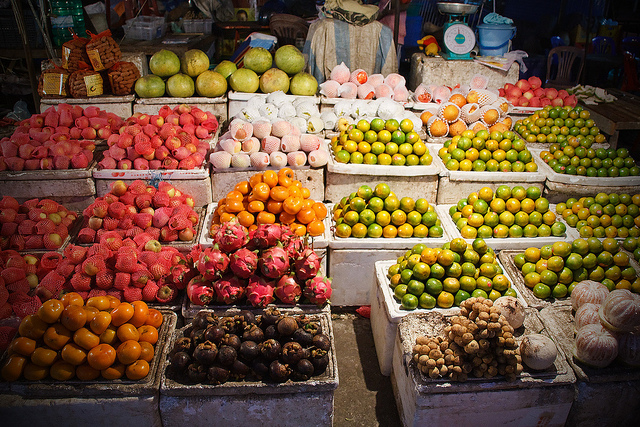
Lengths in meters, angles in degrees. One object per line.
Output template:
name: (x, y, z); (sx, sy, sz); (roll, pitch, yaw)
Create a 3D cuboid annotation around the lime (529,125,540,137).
lime: (2.448, -0.956, 5.036); (0.113, 0.139, 0.116); (-6, 15, 12)

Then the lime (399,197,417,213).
lime: (0.800, -0.084, 4.046); (0.130, 0.141, 0.131); (-2, -8, -3)

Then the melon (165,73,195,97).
melon: (-1.691, -1.529, 5.252); (0.292, 0.297, 0.279); (1, -19, -15)

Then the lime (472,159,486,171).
lime: (1.602, -0.489, 4.401); (0.132, 0.103, 0.072); (3, 24, 5)

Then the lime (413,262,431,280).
lime: (0.816, 0.463, 3.586); (0.124, 0.129, 0.150); (-4, 49, 6)

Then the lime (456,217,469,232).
lime: (1.331, 0.094, 4.161); (0.105, 0.131, 0.106); (-2, 50, 3)

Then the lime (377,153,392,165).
lime: (0.636, -0.544, 4.344); (0.112, 0.111, 0.112); (1, -24, 0)

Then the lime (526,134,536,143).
lime: (2.379, -0.847, 4.923); (0.086, 0.102, 0.087); (10, 0, 8)

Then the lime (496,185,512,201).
lime: (1.732, -0.196, 4.116); (0.144, 0.127, 0.081); (7, 25, 14)

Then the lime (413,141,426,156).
lime: (0.984, -0.654, 4.435); (0.125, 0.146, 0.125); (2, -18, -7)

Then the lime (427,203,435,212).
lime: (1.047, -0.055, 4.127); (0.065, 0.080, 0.066); (9, 23, 21)

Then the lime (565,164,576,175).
lime: (2.532, -0.445, 4.423); (0.085, 0.085, 0.081); (-5, 7, 17)

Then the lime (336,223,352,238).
lime: (0.201, 0.151, 4.099); (0.120, 0.129, 0.145); (24, 28, -18)

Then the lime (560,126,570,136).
lime: (2.765, -0.934, 4.942); (0.121, 0.086, 0.077); (-5, 25, -13)

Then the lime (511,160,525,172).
lime: (2.001, -0.481, 4.447); (0.107, 0.102, 0.107); (1, 49, 0)

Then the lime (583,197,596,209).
lime: (2.545, -0.106, 4.144); (0.088, 0.108, 0.089); (1, -19, 2)

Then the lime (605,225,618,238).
lime: (2.660, 0.162, 3.993); (0.101, 0.103, 0.104); (20, -24, -34)

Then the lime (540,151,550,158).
lime: (2.376, -0.626, 4.622); (0.072, 0.073, 0.072); (0, -1, 7)

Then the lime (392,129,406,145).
lime: (0.779, -0.767, 4.422); (0.128, 0.122, 0.126); (8, 52, -9)

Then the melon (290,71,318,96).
melon: (-0.210, -1.659, 5.553); (0.298, 0.292, 0.269); (21, 32, -26)

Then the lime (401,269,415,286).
lime: (0.722, 0.518, 3.653); (0.104, 0.122, 0.104); (4, -14, -6)

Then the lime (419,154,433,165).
lime: (1.064, -0.547, 4.398); (0.140, 0.096, 0.051); (-8, 26, -17)

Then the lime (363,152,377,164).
lime: (0.500, -0.545, 4.398); (0.105, 0.105, 0.100); (2, -22, 3)

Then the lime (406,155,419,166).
lime: (0.916, -0.534, 4.364); (0.101, 0.103, 0.120); (-10, 58, 11)

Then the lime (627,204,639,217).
lime: (2.888, -0.031, 4.030); (0.094, 0.115, 0.095); (0, -11, -5)

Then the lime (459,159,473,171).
lime: (1.483, -0.481, 4.455); (0.110, 0.111, 0.108); (0, -27, 5)

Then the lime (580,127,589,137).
lime: (2.961, -0.921, 4.898); (0.094, 0.080, 0.082); (11, 21, 10)

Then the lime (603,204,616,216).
lime: (2.682, -0.040, 4.051); (0.095, 0.094, 0.097); (-17, -24, 14)

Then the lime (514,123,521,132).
lime: (2.315, -1.014, 5.160); (0.074, 0.089, 0.074); (16, 18, 36)

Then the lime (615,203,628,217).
lime: (2.788, -0.039, 4.043); (0.092, 0.112, 0.096); (-17, -14, 41)

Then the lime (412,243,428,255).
lime: (0.864, 0.290, 3.797); (0.095, 0.111, 0.091); (10, -24, -14)

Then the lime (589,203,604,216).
lime: (2.566, -0.041, 4.089); (0.106, 0.101, 0.108); (1, 52, 14)

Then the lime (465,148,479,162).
lime: (1.553, -0.600, 4.431); (0.119, 0.117, 0.119); (0, 7, 41)

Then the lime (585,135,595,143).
lime: (3.005, -0.830, 4.847); (0.097, 0.118, 0.098); (-1, 13, 5)

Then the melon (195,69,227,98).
melon: (-1.325, -1.613, 5.397); (0.326, 0.314, 0.325); (1, 19, 4)

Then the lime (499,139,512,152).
lime: (1.896, -0.705, 4.533); (0.114, 0.140, 0.115); (-2, -25, 2)

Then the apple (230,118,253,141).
apple: (-0.787, -0.834, 4.394); (0.177, 0.186, 0.233); (5, 11, 3)

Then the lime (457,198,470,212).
lime: (1.381, -0.095, 4.265); (0.101, 0.102, 0.118); (-9, 16, 0)

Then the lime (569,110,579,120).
lime: (2.932, -1.141, 5.043); (0.098, 0.071, 0.096); (-10, 26, 13)

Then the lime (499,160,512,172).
lime: (1.852, -0.483, 4.406); (0.106, 0.129, 0.107); (1, 10, 9)

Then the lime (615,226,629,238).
lime: (2.753, 0.159, 3.981); (0.092, 0.112, 0.093); (2, -8, -3)

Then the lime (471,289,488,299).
lime: (1.299, 0.642, 3.572); (0.088, 0.086, 0.087); (5, -23, -15)

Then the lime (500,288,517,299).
lime: (1.564, 0.639, 3.623); (0.076, 0.074, 0.077); (-4, 24, -22)

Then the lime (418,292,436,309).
lime: (0.872, 0.697, 3.569); (0.136, 0.108, 0.104); (5, 0, 16)

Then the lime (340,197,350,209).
lime: (0.228, -0.108, 4.201); (0.087, 0.105, 0.089); (16, -10, -15)

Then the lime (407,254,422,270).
lime: (0.793, 0.400, 3.674); (0.105, 0.124, 0.107); (-9, 2, 20)

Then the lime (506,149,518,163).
lime: (1.935, -0.581, 4.438); (0.117, 0.136, 0.117); (-2, -4, 8)
